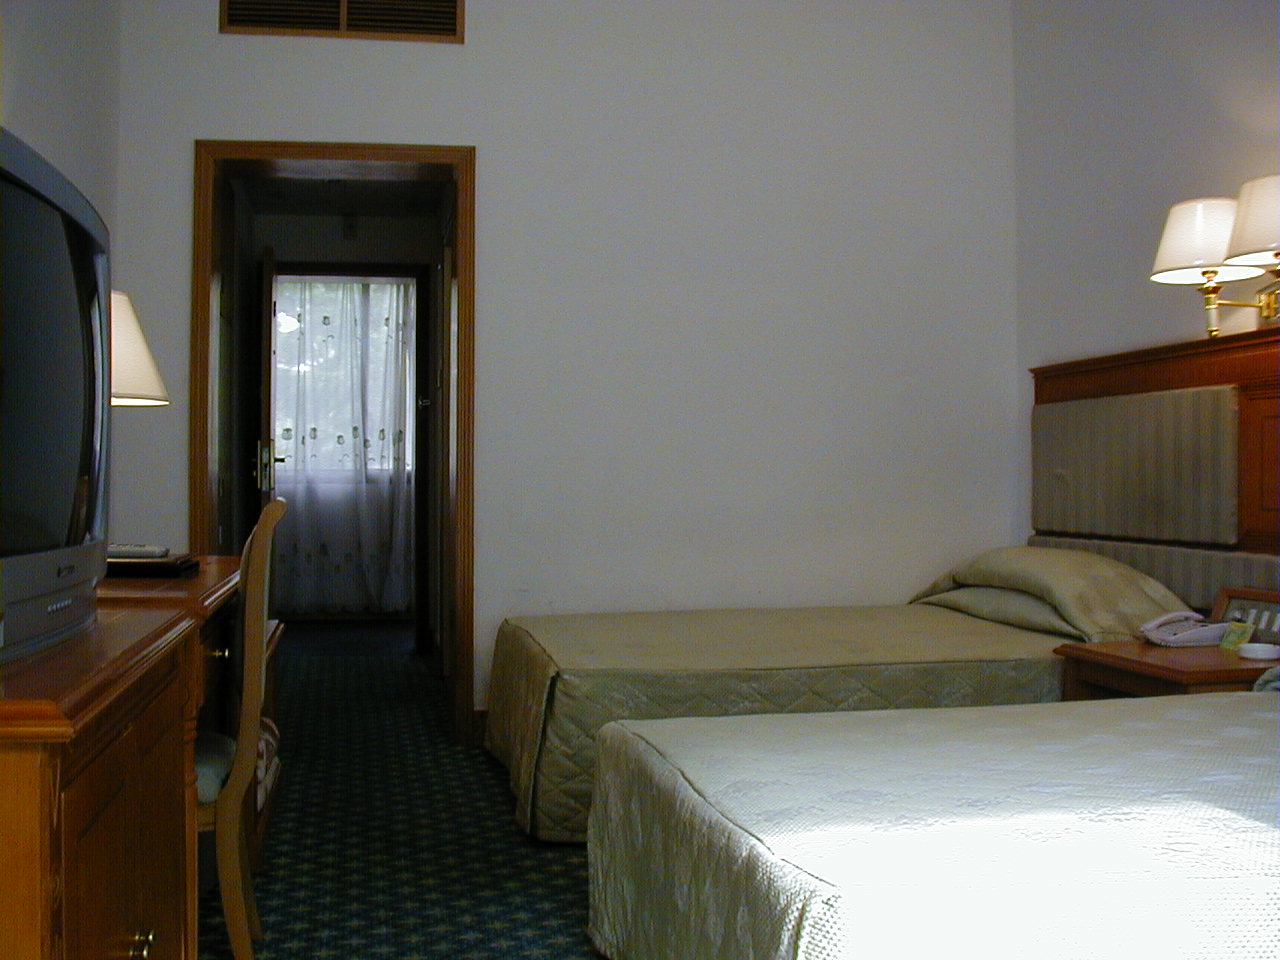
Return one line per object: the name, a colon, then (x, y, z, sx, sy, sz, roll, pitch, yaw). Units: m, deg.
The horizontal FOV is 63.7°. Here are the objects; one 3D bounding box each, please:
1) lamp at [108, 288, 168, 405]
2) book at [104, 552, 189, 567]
lamp: (-1.436, -0.387, 2.944, 0.132, 0.316, 0.193, 0, 2, -25)
book: (-1.203, 0.189, 2.484, 0.082, 0.022, 0.088, 0, 2, -2)
